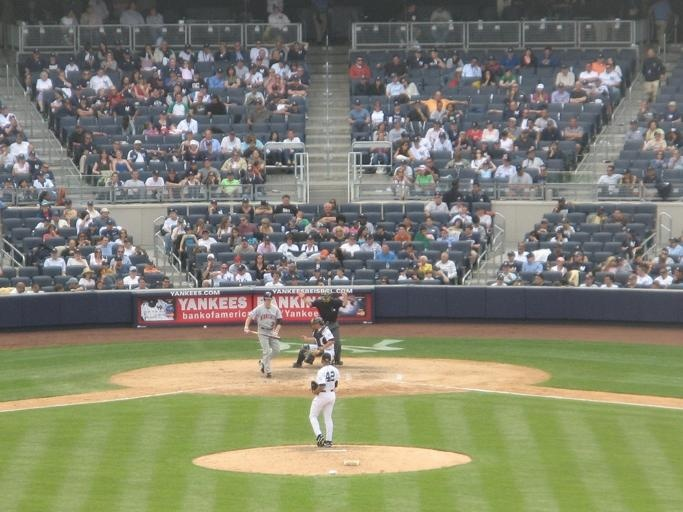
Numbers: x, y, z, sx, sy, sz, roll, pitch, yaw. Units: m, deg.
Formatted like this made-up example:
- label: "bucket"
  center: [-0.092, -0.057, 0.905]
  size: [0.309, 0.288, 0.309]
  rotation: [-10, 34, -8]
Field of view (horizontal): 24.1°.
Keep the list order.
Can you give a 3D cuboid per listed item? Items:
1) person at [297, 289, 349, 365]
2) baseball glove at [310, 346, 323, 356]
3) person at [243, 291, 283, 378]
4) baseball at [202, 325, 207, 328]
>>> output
- label: "person"
  center: [-0.249, 1.897, 43.599]
  size: [1.386, 2.378, 0.752]
  rotation: [-4, 14, 18]
- label: "baseball glove"
  center: [-0.603, 2.594, 44.277]
  size: [0.308, 0.076, 0.318]
  rotation: [2, 7, 22]
- label: "person"
  center: [-2.064, 2.172, 43.340]
  size: [1.117, 2.218, 0.866]
  rotation: [-5, 9, -24]
- label: "baseball"
  center: [-4.169, 2.198, 49.778]
  size: [0.123, 0.099, 0.057]
  rotation: [1, 19, 1]
